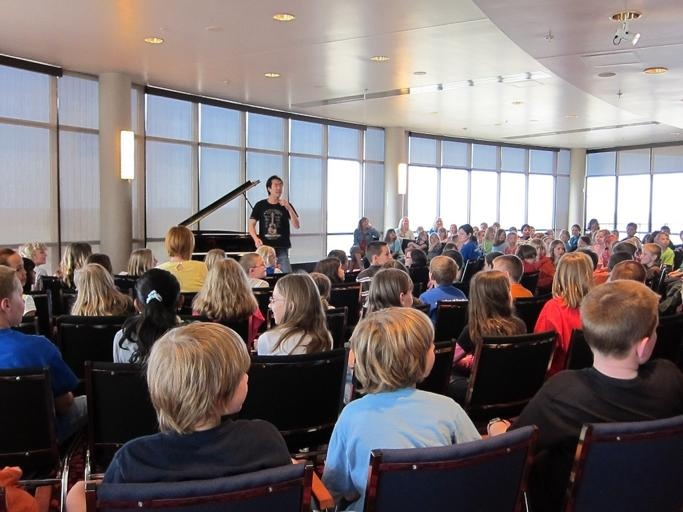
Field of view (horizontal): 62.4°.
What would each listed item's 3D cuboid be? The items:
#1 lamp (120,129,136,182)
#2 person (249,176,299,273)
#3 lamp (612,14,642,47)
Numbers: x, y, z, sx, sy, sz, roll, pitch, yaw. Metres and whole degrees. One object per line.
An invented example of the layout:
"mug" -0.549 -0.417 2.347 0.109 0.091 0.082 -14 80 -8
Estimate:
"lamp" -3.482 -1.623 9.098 0.188 0.796 0.112 -1 3 -31
"person" -0.995 -0.187 8.213 0.748 1.888 0.575 -1 4 7
"lamp" 2.768 -2.189 5.487 0.248 0.287 0.258 6 14 34
